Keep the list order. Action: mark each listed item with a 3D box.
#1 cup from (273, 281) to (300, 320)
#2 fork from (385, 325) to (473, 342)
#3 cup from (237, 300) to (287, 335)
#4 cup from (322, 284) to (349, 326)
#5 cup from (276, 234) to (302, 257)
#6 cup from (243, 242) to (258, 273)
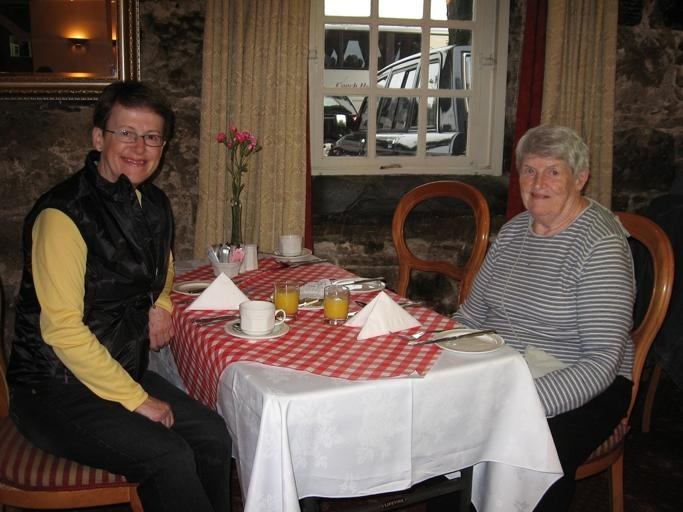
[{"bbox_3d":[-0.189,0.160,1.933,0.076,0.123,0.123,-2,-4,8],"label":"cup"},{"bbox_3d":[0.296,0.255,1.804,0.264,0.031,0.087,-4,8,-31],"label":"fork"},{"bbox_3d":[-0.258,0.209,1.804,0.145,0.105,0.116,-1,10,-9],"label":"cup"},{"bbox_3d":[-0.019,0.168,1.884,0.108,0.134,0.113,0,6,0],"label":"cup"},{"bbox_3d":[-0.246,-0.050,2.618,0.111,0.085,0.086,1,4,-2],"label":"cup"},{"bbox_3d":[-0.422,0.003,2.502,0.101,0.109,0.080,-5,13,-22],"label":"cup"}]
